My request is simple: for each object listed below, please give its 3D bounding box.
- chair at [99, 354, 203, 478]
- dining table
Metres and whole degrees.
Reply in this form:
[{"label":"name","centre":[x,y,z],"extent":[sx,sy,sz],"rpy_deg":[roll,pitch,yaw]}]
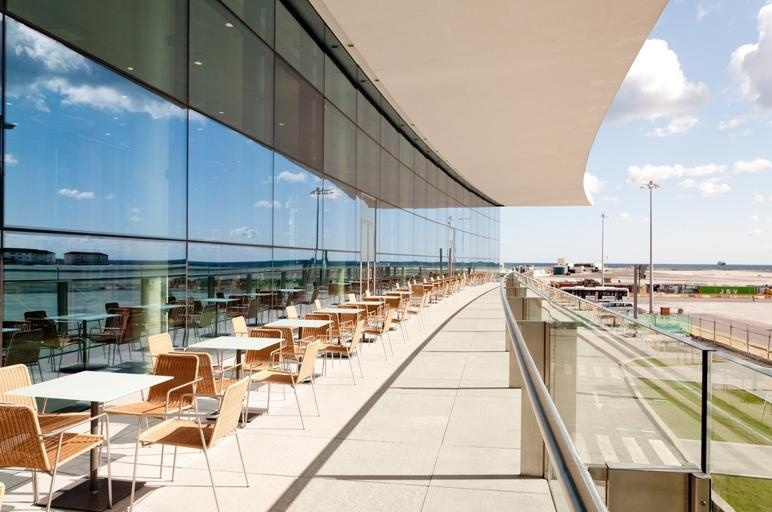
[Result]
[{"label":"chair","centre":[-2.556,1.615,5.490],"extent":[0.839,0.953,1.062],"rpy_deg":[1,-1,18]},{"label":"dining table","centre":[-2.845,1.808,5.008],"extent":[1.148,1.324,1.378],"rpy_deg":[2,2,17]}]
